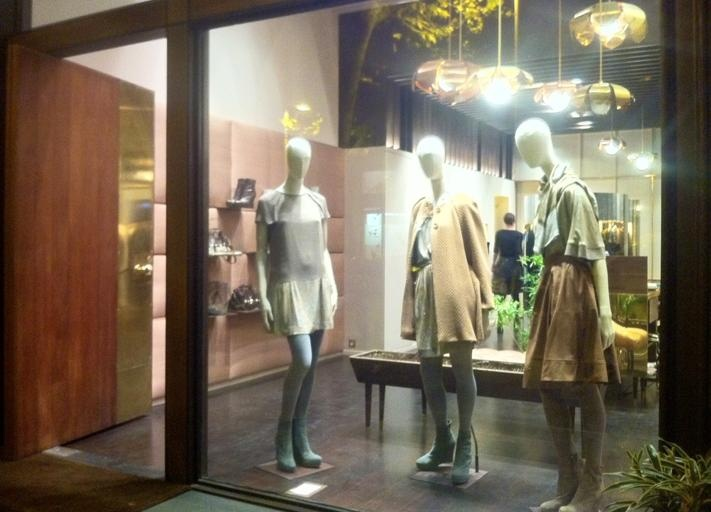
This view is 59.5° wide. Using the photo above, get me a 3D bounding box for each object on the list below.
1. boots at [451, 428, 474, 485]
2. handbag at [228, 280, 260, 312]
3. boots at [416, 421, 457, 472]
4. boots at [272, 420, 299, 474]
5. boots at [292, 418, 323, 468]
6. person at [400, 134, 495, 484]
[{"bbox_3d":[0.500,0.926,2.920,0.084,0.193,0.255,-4,9,17],"label":"boots"},{"bbox_3d":[-0.580,0.209,3.252,0.124,0.152,0.159,2,5,-25],"label":"handbag"},{"bbox_3d":[0.397,0.913,2.938,0.230,0.245,0.116,-2,-5,13],"label":"boots"},{"bbox_3d":[-0.358,0.974,3.227,0.093,0.229,0.281,5,-2,-17],"label":"boots"},{"bbox_3d":[-0.251,0.958,3.193,0.216,0.225,0.087,4,7,44],"label":"boots"},{"bbox_3d":[0.427,0.253,2.900,0.411,1.609,0.112,0,0,4],"label":"person"}]
